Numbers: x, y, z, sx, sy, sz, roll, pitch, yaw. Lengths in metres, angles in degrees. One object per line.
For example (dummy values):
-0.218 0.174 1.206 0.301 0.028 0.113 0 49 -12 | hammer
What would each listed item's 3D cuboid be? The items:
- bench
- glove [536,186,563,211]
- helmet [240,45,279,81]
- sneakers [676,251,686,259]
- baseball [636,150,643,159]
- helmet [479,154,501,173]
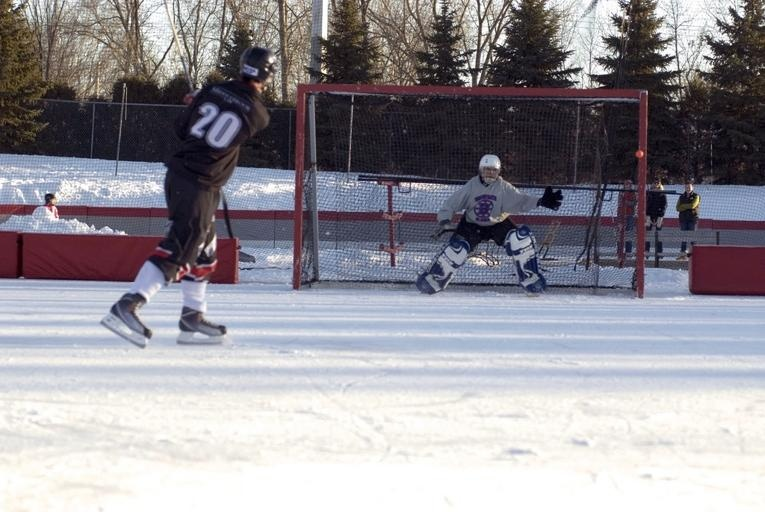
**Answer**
5.434 -0.039 21.506 2.337 0.955 0.749 1 2 -8 | bench
2.725 -0.930 17.166 0.351 0.396 0.521 5 7 22 | glove
-1.683 -2.659 14.705 0.411 0.446 0.485 5 22 9 | helmet
5.807 -0.001 20.659 0.100 0.184 0.280 -2 15 -15 | sneakers
4.207 -1.668 17.472 0.127 0.136 0.165 5 7 23 | baseball
1.745 -1.506 17.269 0.262 0.280 0.297 2 -6 -3 | helmet
